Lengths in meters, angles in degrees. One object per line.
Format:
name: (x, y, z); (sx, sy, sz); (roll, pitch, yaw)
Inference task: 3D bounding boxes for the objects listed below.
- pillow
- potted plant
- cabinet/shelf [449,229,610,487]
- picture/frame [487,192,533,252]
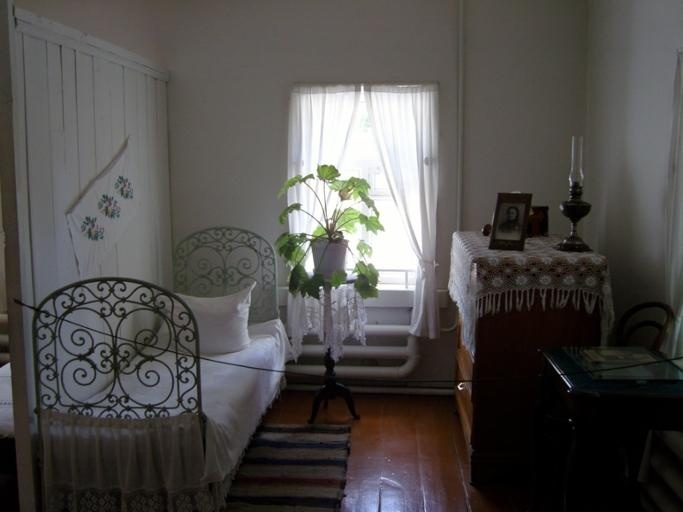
pillow: (-0.908, 0.485, 4.083); (0.531, 0.537, 0.246); (-6, 14, -23)
potted plant: (-0.092, -0.172, 4.101); (0.970, 0.919, 1.047); (-2, -5, 1)
cabinet/shelf: (1.195, 0.175, 3.807); (0.736, 1.305, 1.310); (0, 31, 9)
picture/frame: (1.002, -0.201, 3.330); (0.204, 0.388, 0.016); (3, -33, 25)
